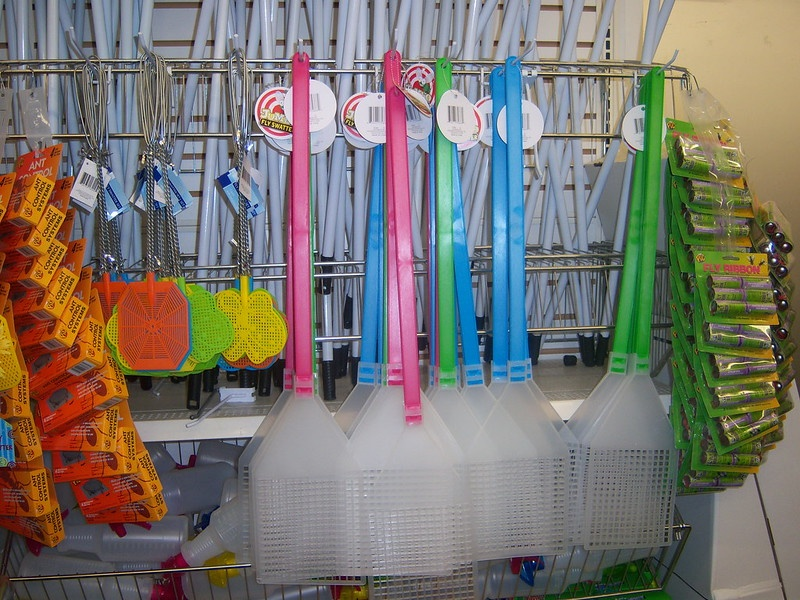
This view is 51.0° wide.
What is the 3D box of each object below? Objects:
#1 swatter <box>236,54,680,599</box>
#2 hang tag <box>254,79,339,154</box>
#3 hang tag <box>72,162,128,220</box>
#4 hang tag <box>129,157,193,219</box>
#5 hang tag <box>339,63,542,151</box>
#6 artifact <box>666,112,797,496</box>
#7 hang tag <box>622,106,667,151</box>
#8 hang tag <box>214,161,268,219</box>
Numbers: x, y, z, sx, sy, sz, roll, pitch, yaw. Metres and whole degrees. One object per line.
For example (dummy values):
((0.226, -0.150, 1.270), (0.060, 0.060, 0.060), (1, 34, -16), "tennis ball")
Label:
((0.214, 0.131, 2.293), (1.133, 1.531, 0.358), (-4, 14, -11), "swatter")
((-0.278, -0.500, 2.287), (0.231, 0.270, 0.060), (12, 0, -2), "hang tag")
((-0.802, -0.290, 2.244), (0.112, 0.161, 0.037), (30, -25, -27), "hang tag")
((-0.653, -0.312, 2.294), (0.147, 0.153, 0.040), (-25, 40, -37), "hang tag")
((0.107, -0.530, 2.310), (0.451, 0.284, 0.024), (1, -3, -11), "hang tag")
((0.923, 0.038, 2.344), (0.389, 1.028, 0.345), (3, 14, 15), "artifact")
((0.687, -0.483, 2.384), (0.111, 0.143, 0.029), (1, -15, 7), "hang tag")
((-0.432, -0.299, 2.308), (0.029, 0.141, 0.132), (-8, 22, 42), "hang tag")
